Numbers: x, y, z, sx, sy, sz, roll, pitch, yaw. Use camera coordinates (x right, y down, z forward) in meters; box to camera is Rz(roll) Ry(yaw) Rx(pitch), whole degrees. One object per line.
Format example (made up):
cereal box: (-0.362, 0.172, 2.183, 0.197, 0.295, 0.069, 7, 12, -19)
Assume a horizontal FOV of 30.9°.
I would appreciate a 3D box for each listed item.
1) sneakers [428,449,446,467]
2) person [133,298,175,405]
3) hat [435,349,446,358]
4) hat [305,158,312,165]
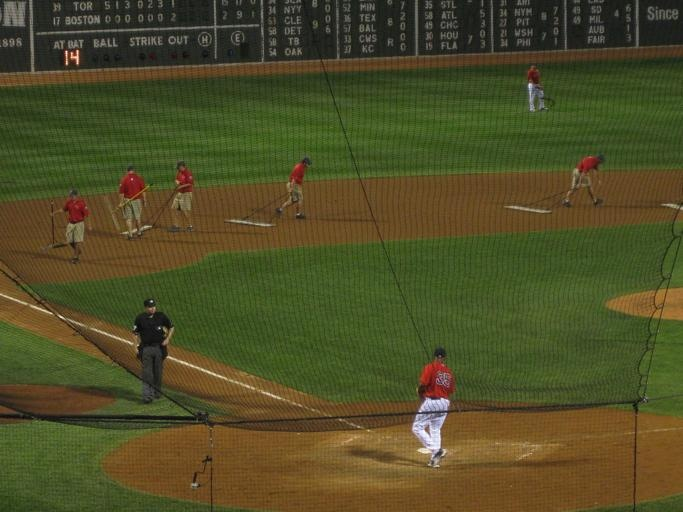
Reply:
sneakers: (1.842, 3.831, 23.461, 0.222, 0.413, 0.199, 25, 0, -5)
person: (-3.748, 1.905, 24.966, 0.801, 2.074, 0.876, -7, 15, -6)
hat: (1.915, 1.843, 23.544, 0.185, 0.113, 0.182, 9, 16, 38)
hat: (-0.905, -2.583, 33.425, 0.211, 0.182, 0.213, 1, 6, 11)
